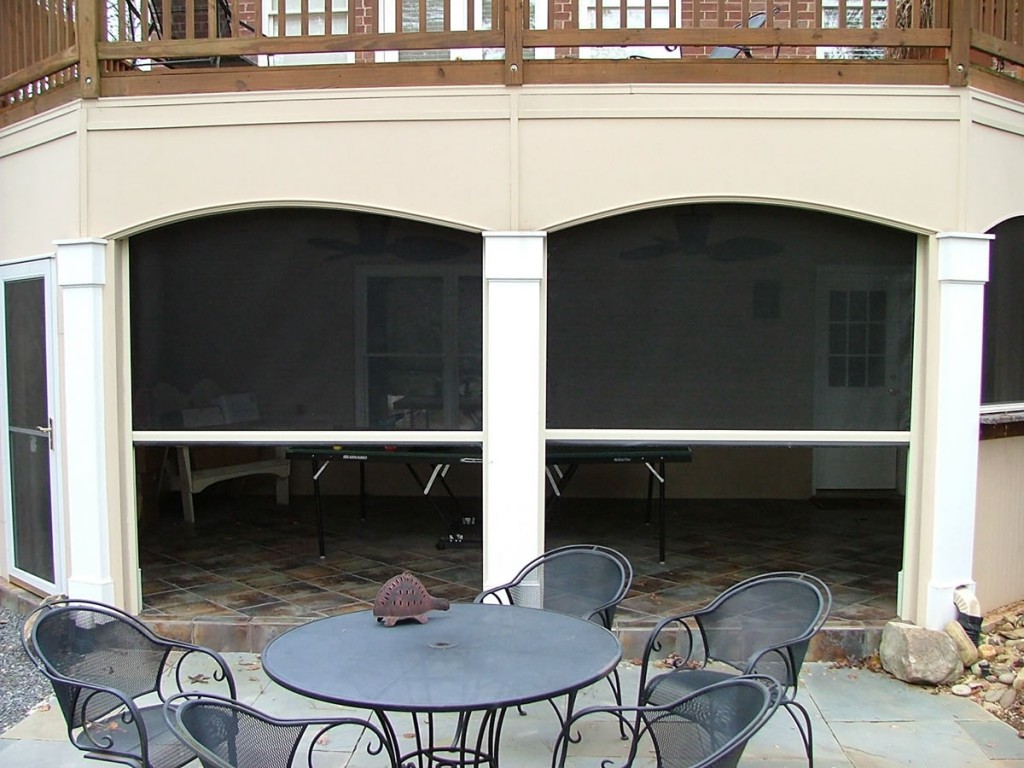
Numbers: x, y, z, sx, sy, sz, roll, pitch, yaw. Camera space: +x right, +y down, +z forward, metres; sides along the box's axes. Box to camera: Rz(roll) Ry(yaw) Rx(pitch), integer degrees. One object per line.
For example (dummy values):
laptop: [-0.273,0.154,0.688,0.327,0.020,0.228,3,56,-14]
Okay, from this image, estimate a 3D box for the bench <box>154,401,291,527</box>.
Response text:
bench: [-2.521,0.709,10.247,0.517,0.851,1.233,4,6,27]
